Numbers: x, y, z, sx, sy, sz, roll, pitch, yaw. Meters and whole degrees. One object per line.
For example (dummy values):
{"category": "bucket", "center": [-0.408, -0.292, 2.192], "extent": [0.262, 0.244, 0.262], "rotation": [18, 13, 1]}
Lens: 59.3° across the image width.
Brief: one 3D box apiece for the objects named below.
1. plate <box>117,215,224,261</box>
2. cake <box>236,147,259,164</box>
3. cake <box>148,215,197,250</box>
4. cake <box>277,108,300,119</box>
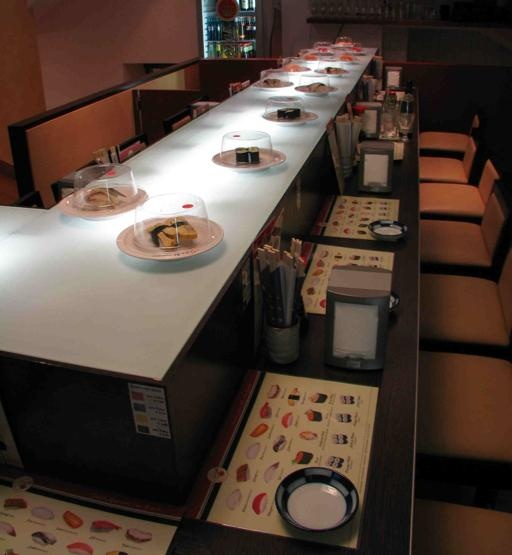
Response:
{"category": "plate", "center": [-0.180, -0.125, 0.932], "extent": [0.139, 0.036, 0.138], "rotation": [0, 27, -1]}
{"category": "cake", "center": [-0.028, -0.391, 1.452], "extent": [0.072, 0.046, 0.052], "rotation": [-2, 34, -4]}
{"category": "cake", "center": [-0.173, -0.090, 0.989], "extent": [0.123, 0.061, 0.085], "rotation": [15, 26, 21]}
{"category": "cake", "center": [0.147, -0.726, 1.993], "extent": [0.080, 0.031, 0.058], "rotation": [2, 34, 4]}
